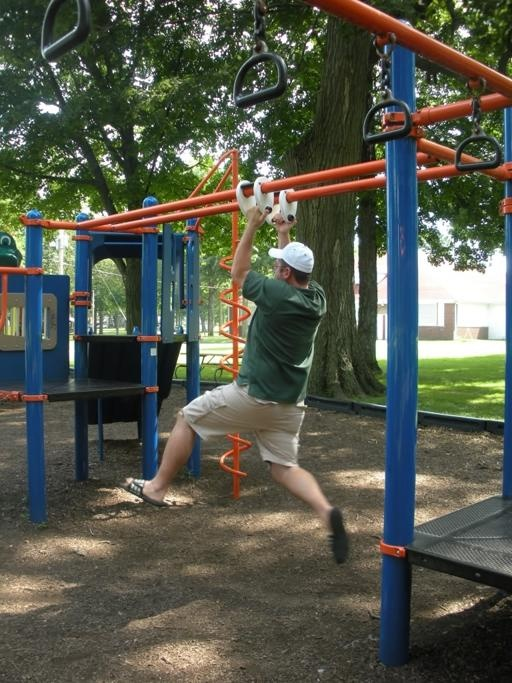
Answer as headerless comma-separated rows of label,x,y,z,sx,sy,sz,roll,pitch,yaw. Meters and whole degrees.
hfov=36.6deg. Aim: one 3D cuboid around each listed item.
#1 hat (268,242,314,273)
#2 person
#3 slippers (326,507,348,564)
hat,0.170,-0.428,4.078,0.231,0.119,0.147,33,30,22
person,0.054,0.139,4.011,1.253,1.694,0.554,2,4,38
slippers,0.394,0.892,3.547,0.085,0.233,0.105,-6,-15,-19
